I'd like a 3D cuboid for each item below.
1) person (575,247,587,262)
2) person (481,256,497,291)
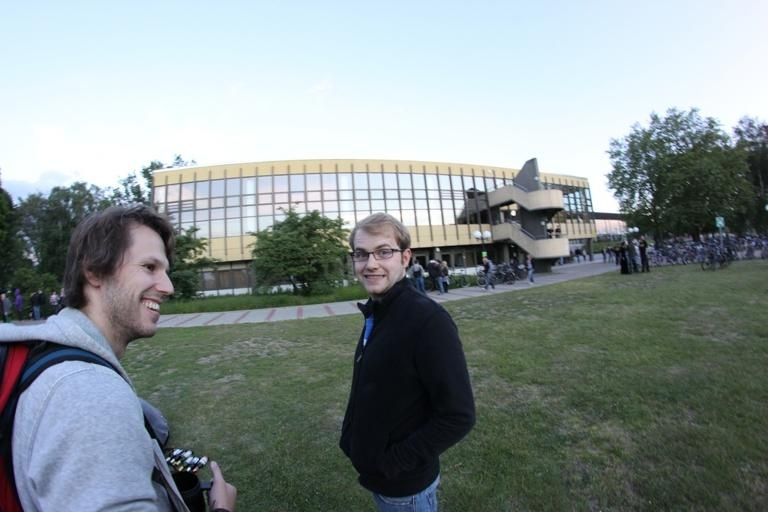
[{"bbox_3d":[21.954,-0.222,44.125,0.645,1.030,1.818,-4,-1,44],"label":"person"},{"bbox_3d":[5.305,0.823,20.062,0.435,1.717,1.523,-4,12,12],"label":"person"}]
